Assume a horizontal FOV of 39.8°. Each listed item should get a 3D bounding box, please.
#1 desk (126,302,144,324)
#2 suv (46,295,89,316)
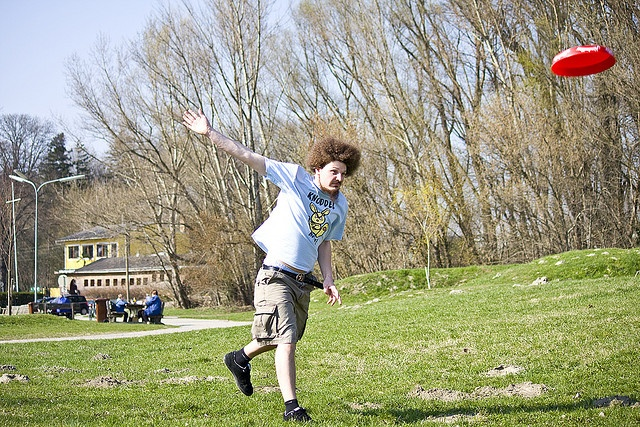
[{"bbox_3d":[-11.798,6.488,57.020,1.190,1.252,1.250,0,2,-8],"label":"desk"},{"bbox_3d":[-18.090,6.684,64.991,3.136,1.563,1.878,12,-17,-43],"label":"suv"}]
